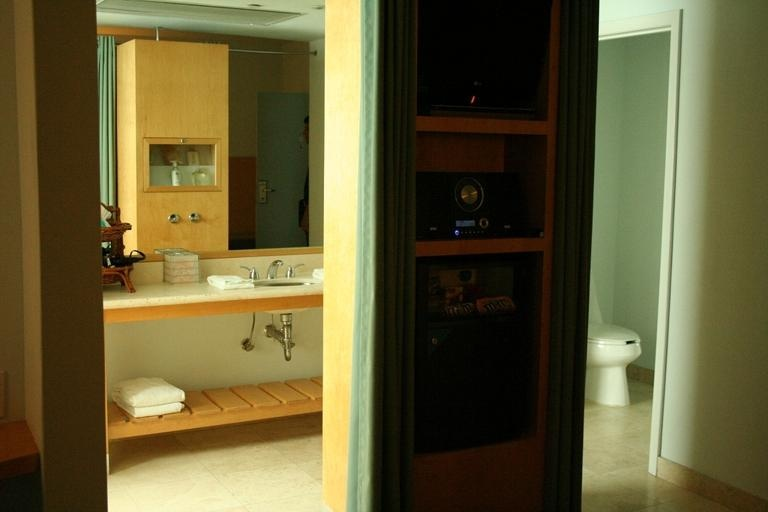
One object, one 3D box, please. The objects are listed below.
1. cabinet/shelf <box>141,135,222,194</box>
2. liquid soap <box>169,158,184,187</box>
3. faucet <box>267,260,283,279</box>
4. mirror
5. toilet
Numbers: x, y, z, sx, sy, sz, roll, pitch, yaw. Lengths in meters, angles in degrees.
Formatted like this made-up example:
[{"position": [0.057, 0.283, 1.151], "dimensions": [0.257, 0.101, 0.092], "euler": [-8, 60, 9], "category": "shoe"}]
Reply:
[{"position": [-1.339, -0.600, 4.207], "dimensions": [0.407, 0.282, 0.149], "euler": [-1, 2, -31], "category": "cabinet/shelf"}, {"position": [-1.354, -0.531, 4.210], "dimensions": [0.072, 0.168, 0.027], "euler": [-4, 12, -26], "category": "liquid soap"}, {"position": [-0.775, 0.087, 4.577], "dimensions": [0.085, 0.119, 0.145], "euler": [2, 11, 7], "category": "faucet"}, {"position": [-1.164, -0.782, 4.186], "dimensions": [1.506, 1.428, 0.492], "euler": [-3, 8, -30], "category": "mirror"}, {"position": [1.712, 0.683, 4.873], "dimensions": [0.380, 0.951, 0.456], "euler": [4, 11, 18], "category": "toilet"}]
